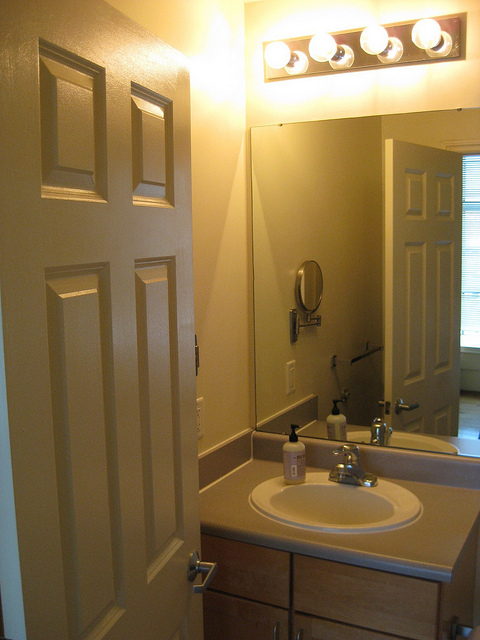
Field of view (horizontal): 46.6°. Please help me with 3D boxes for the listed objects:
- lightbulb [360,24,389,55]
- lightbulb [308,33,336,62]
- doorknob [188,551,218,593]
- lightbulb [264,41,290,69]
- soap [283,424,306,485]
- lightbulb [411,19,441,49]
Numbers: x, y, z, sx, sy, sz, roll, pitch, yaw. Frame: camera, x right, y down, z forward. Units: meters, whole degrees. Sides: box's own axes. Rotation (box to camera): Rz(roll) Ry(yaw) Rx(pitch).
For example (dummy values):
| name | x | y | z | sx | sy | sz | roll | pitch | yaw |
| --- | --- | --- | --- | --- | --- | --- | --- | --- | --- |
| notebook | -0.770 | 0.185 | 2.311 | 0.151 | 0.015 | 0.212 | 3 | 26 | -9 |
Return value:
| name | x | y | z | sx | sy | sz | roll | pitch | yaw |
| --- | --- | --- | --- | --- | --- | --- | --- | --- | --- |
| lightbulb | 0.397 | -0.824 | 1.654 | 0.070 | 0.080 | 0.092 | -5 | 6 | -44 |
| lightbulb | 0.247 | -0.817 | 1.681 | 0.062 | 0.103 | 0.076 | -4 | 15 | 3 |
| doorknob | -0.074 | 0.512 | 1.124 | 0.045 | 0.087 | 0.060 | 1 | 5 | 21 |
| lightbulb | 0.114 | -0.822 | 1.745 | 0.063 | 0.091 | 0.050 | 6 | 2 | 21 |
| soap | 0.159 | 0.391 | 1.655 | 0.051 | 0.189 | 0.062 | 2 | 17 | 15 |
| lightbulb | 0.529 | -0.810 | 1.591 | 0.081 | 0.071 | 0.069 | 1 | 5 | 24 |
